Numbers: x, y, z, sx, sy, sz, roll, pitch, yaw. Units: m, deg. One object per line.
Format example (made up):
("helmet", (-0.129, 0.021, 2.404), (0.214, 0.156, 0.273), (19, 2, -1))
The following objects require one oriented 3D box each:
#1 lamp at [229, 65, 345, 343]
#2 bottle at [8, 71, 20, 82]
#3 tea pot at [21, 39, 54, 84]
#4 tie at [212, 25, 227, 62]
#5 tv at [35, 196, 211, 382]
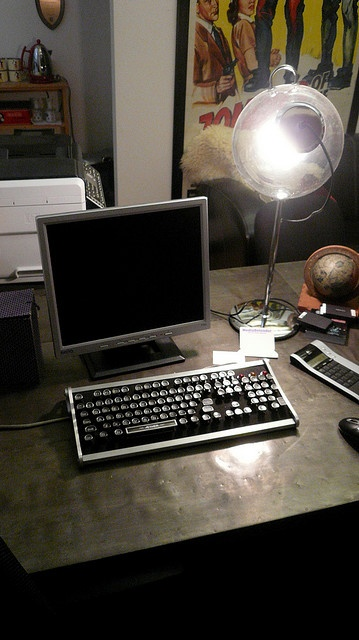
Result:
("lamp", (0.271, -0.332, 1.231), (0.247, 0.679, 0.247), (12, 11, 32))
("bottle", (-1.380, -2.015, 3.618), (0.070, 0.083, 0.083), (7, 44, -6))
("tea pot", (-1.240, -2.185, 3.677), (0.336, 0.332, 0.221), (25, 33, 39))
("tie", (0.190, -1.322, 2.069), (0.032, 0.120, 0.014), (-22, 38, -4))
("tv", (-0.132, -0.060, 1.094), (0.352, 0.398, 0.138), (-12, 30, -21))
